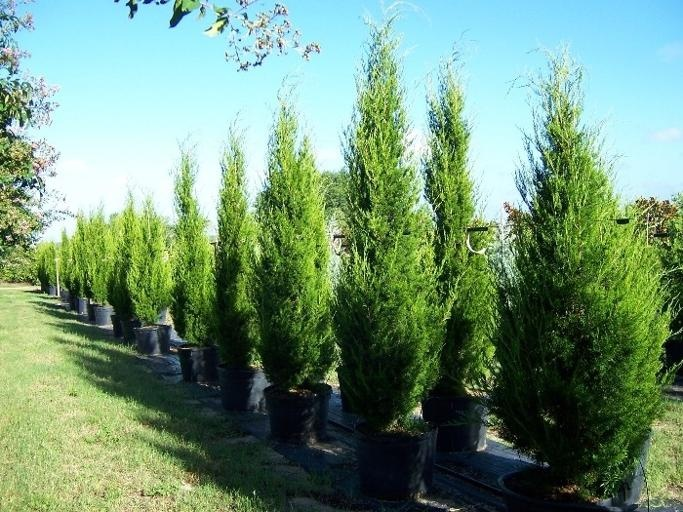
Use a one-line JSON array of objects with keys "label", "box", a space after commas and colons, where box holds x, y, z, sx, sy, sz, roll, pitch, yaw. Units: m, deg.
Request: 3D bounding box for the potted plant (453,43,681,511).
[{"label": "potted plant", "box": [2.453, 0.231, 6.361, 1.717, 3.234, 0.667, 4, -1, 11]}]
